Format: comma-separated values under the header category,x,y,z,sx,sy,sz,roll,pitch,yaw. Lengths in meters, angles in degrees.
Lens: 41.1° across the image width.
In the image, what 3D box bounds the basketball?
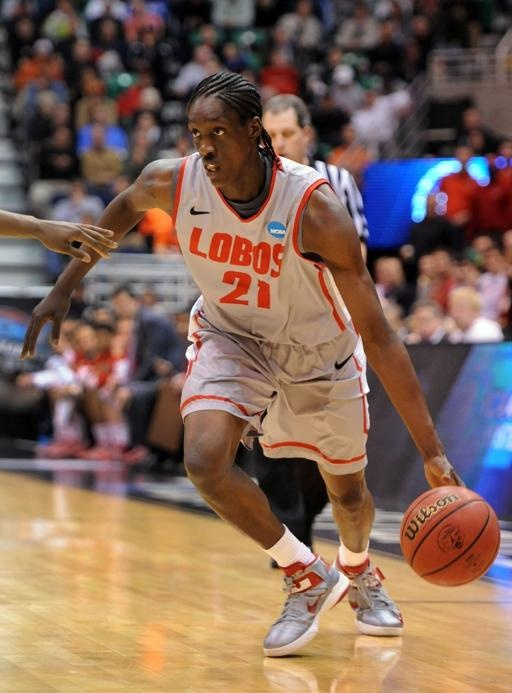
category,x,y,z,sx,sy,sz,roll,pitch,yaw
basketball,0.446,0.430,1.535,0.224,0.206,0.231,-2,-20,44

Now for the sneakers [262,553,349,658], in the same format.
category,x,y,z,sx,sy,sz,roll,pitch,yaw
sneakers,0.087,0.706,1.875,0.114,0.143,0.338,-21,10,40

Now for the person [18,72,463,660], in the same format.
category,x,y,z,sx,sy,sz,roll,pitch,yaw
person,0.069,0.080,1.820,0.910,1.433,0.750,5,-11,-11

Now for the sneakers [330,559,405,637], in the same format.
category,x,y,z,sx,sy,sz,roll,pitch,yaw
sneakers,0.318,0.761,2.073,0.103,0.100,0.266,-5,11,-21
